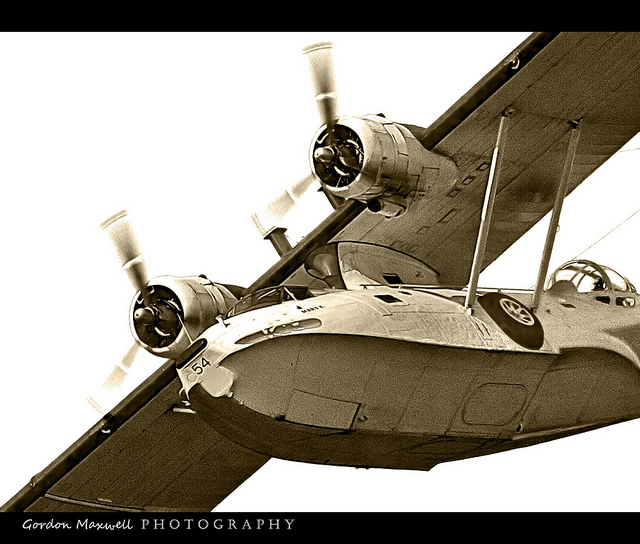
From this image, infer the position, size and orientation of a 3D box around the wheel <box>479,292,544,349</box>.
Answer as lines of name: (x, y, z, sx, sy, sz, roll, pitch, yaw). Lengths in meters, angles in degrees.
wheel: (1.684, 0.411, 9.988, 0.502, 0.704, 0.102, 4, -48, -37)
